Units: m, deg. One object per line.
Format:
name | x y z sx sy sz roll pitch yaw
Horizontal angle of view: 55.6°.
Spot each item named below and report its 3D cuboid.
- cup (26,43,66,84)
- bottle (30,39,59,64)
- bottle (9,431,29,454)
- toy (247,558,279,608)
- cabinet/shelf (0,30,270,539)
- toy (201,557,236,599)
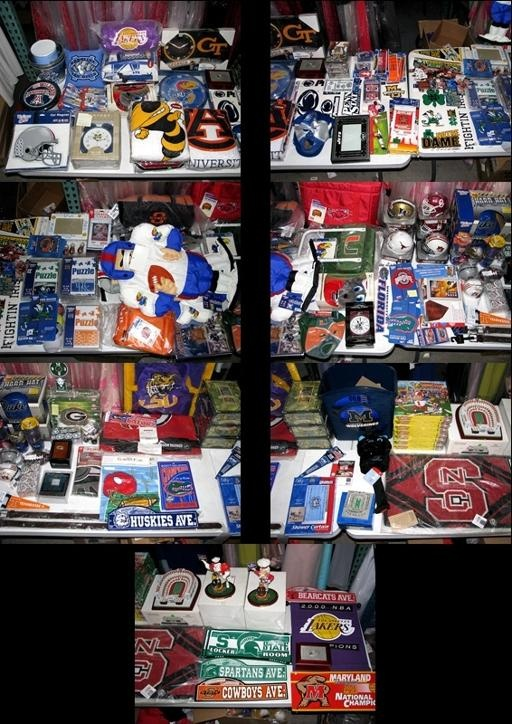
cup | -0.933 -1.332 2.179 0.170 0.163 0.171 -6 -5 0
bottle | -0.956 -1.364 2.129 0.109 0.105 0.066 -9 4 -9
bottle | -1.122 0.369 2.228 0.057 0.084 0.057 3 60 -4
toy | 0.035 1.003 2.224 0.160 0.172 0.156 0 0 25
cabinet/shelf | -0.318 -0.167 1.951 0.765 1.865 1.089 0 38 6
toy | -0.142 0.988 2.265 0.179 0.184 0.181 2 41 3
